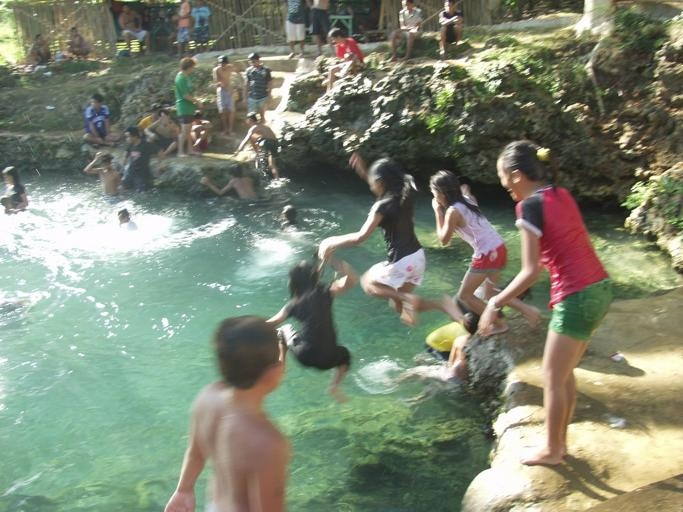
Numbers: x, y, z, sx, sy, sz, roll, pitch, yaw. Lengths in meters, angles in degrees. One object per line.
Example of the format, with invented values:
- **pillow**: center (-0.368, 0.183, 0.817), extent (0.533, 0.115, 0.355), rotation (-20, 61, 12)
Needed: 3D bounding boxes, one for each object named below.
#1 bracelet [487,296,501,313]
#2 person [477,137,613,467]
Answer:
- **bracelet**: center (1.401, 0.425, 5.352), extent (0.148, 0.128, 0.133), rotation (-9, 20, -10)
- **person**: center (1.766, 0.417, 5.143), extent (0.772, 2.665, 1.037), rotation (-9, 22, -21)
